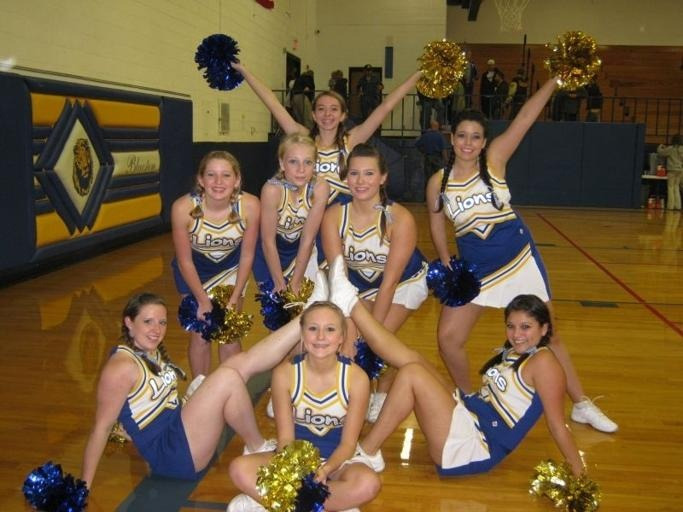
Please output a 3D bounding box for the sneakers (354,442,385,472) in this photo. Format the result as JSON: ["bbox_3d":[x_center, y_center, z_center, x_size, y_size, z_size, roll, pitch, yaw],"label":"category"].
[{"bbox_3d":[0.128,0.922,2.679,0.067,0.091,0.204,4,-14,20],"label":"sneakers"}]

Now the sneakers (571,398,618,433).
[{"bbox_3d":[1.320,0.824,3.165,0.271,0.128,0.098,15,27,40],"label":"sneakers"}]

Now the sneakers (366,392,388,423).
[{"bbox_3d":[0.207,0.798,3.213,0.112,0.203,0.071,1,-15,37],"label":"sneakers"}]
